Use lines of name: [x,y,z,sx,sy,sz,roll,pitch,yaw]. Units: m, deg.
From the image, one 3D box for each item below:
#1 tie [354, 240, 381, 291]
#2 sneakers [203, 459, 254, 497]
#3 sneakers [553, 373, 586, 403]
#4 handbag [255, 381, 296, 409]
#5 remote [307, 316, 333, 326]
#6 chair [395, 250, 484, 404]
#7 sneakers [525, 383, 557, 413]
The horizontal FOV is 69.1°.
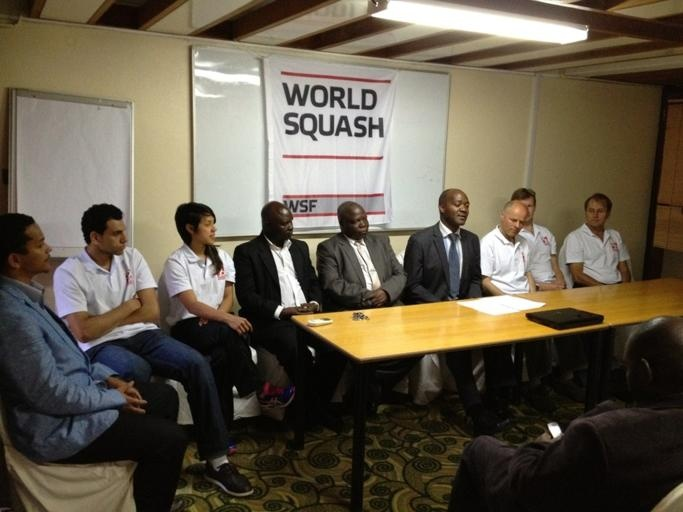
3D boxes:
tie: [0.196,0.081,4.295,0.220,0.413,0.135,-15,-4,-32]
sneakers: [-0.647,1.291,2.917,0.324,0.135,0.122,20,12,28]
sneakers: [1.854,1.075,4.054,0.192,0.067,0.214,2,5,15]
handbag: [-0.444,0.934,3.420,0.276,0.152,0.151,-7,19,2]
remote: [-0.134,0.414,3.103,0.107,0.021,0.058,-4,12,-34]
chair: [0.682,0.780,3.992,0.680,0.828,0.513,1,-3,-32]
sneakers: [1.526,1.109,3.903,0.119,0.143,0.354,-9,2,-12]
